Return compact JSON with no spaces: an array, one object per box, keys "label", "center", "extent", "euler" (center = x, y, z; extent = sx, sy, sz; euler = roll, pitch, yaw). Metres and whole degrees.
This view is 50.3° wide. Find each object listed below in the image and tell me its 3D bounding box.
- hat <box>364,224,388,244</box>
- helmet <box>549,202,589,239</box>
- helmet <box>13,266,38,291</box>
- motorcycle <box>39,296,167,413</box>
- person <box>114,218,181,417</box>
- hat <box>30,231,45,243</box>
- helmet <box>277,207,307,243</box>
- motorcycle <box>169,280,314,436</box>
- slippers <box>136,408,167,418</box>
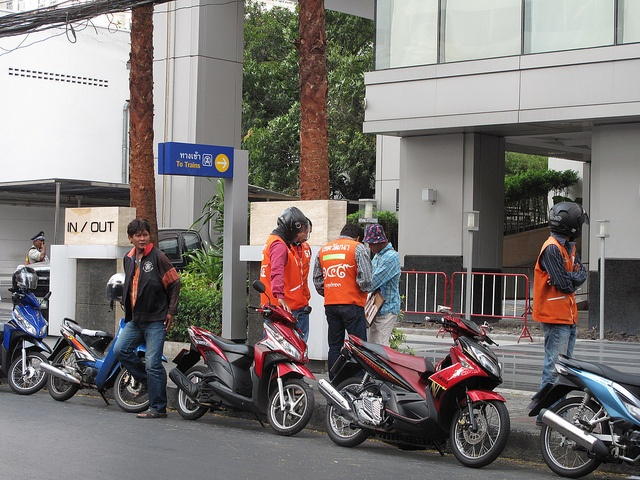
[{"label":"hat","center":[0.725,-0.068,9.150],"extent":[0.245,0.177,0.248],"euler":[-5,3,8]},{"label":"helmet","center":[2.984,-0.225,8.171],"extent":[0.437,0.479,0.360],"euler":[-6,11,-36]},{"label":"helmet","center":[-4.607,0.614,10.562],"extent":[0.375,0.401,0.309],"euler":[-4,-5,42]},{"label":"motorcycle","center":[-2.946,1.847,10.249],"extent":[2.043,1.725,1.070],"euler":[1,-11,31]},{"label":"person","center":[-2.271,1.041,8.990],"extent":[0.780,2.488,0.421],"euler":[2,0,21]},{"label":"hat","center":[-8.867,-0.082,21.455],"extent":[0.475,0.297,0.424],"euler":[-12,-6,38]},{"label":"helmet","center":[-0.369,-0.221,8.788],"extent":[0.387,0.445,0.361],"euler":[-7,15,-20]},{"label":"motorcycle","center":[-0.744,1.792,9.046],"extent":[2.258,1.897,1.180],"euler":[-3,-15,35]},{"label":"slippers","center":[-2.202,2.286,8.946],"extent":[0.335,0.177,0.158],"euler":[6,-5,1]}]
